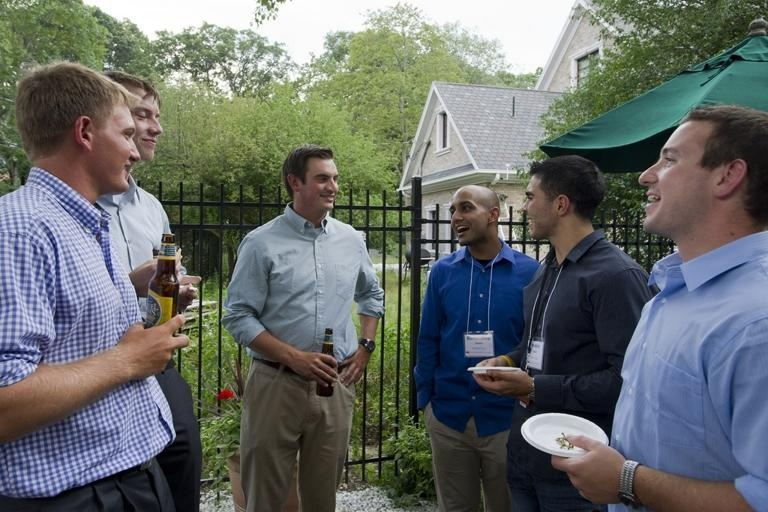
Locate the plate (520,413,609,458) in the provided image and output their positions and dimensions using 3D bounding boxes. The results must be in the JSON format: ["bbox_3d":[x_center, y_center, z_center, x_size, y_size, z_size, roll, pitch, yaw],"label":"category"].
[{"bbox_3d":[0.839,0.844,2.737,0.276,0.029,0.269,-11,17,-32],"label":"plate"}]
